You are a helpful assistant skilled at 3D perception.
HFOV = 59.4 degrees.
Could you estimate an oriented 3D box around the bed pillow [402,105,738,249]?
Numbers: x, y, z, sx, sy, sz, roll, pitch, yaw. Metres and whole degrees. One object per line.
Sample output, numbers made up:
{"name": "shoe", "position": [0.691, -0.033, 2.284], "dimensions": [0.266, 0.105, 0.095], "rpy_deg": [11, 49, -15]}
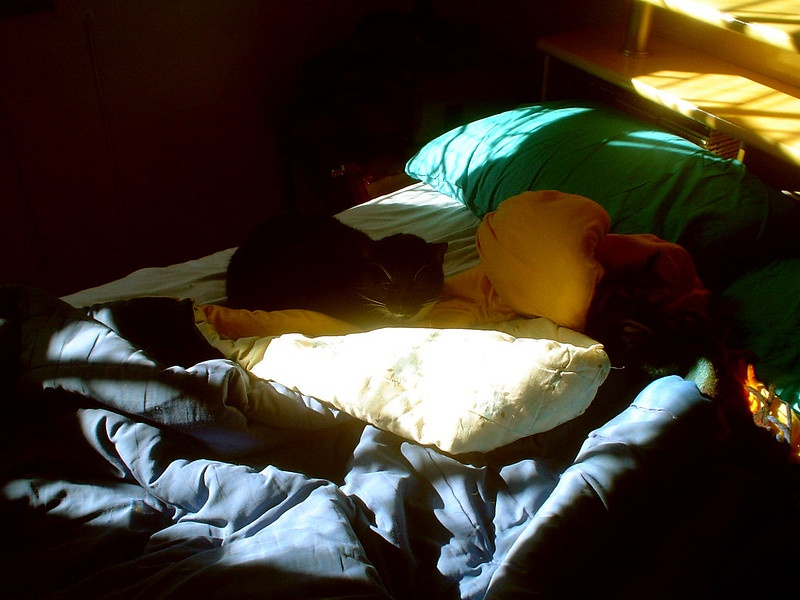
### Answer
{"name": "bed pillow", "position": [0.494, -0.408, 2.045], "dimensions": [0.503, 0.175, 0.644], "rpy_deg": [-31, 44, -33]}

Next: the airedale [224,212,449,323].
{"name": "airedale", "position": [-0.173, -0.074, 1.863], "dimensions": [0.476, 0.204, 0.289], "rpy_deg": [7, 41, 13]}
